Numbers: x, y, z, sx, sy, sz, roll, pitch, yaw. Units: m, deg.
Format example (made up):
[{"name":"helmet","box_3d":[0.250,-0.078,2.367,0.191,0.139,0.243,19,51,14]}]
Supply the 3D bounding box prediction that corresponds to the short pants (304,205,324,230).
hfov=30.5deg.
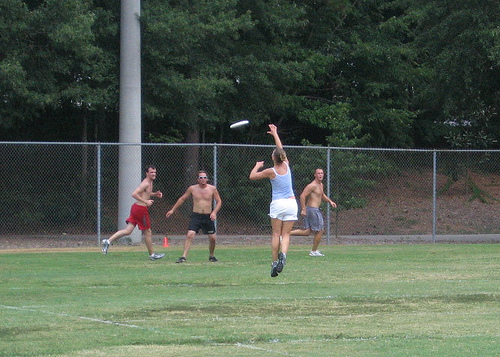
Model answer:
[{"name":"short pants","box_3d":[2.017,1.242,29.044,0.492,0.765,0.828,-8,12,-24]}]

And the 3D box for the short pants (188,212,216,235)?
[{"name":"short pants","box_3d":[-1.531,1.293,27.716,1.105,0.730,0.500,-3,9,-24]}]

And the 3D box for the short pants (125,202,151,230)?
[{"name":"short pants","box_3d":[-3.365,1.107,27.958,0.530,0.742,1.051,-10,13,-34]}]

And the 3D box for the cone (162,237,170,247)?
[{"name":"cone","box_3d":[-2.922,2.170,31.377,0.293,0.294,0.293,1,2,35]}]

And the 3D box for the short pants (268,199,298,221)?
[{"name":"short pants","box_3d":[0.887,0.867,25.636,0.836,0.627,0.570,1,-1,-21]}]

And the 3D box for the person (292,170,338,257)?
[{"name":"person","box_3d":[1.963,1.101,28.816,0.864,2.700,1.147,-1,-2,26]}]
